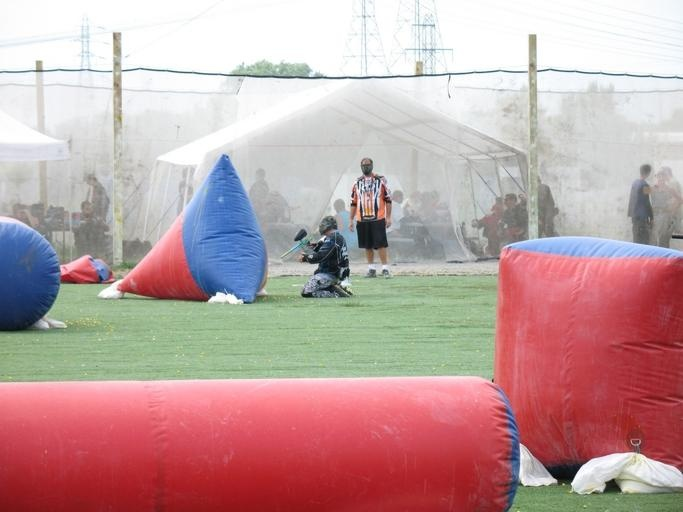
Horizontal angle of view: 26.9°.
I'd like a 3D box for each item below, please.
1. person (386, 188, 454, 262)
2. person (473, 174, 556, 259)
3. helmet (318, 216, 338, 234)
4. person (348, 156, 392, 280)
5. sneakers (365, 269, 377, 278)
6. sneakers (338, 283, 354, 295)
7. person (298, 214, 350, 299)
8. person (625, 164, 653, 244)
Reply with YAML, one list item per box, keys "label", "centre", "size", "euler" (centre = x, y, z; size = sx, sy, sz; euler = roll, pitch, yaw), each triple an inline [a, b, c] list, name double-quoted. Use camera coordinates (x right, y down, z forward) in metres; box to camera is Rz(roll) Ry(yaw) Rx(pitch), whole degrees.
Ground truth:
- label: "person"
  centre: [1.044, -0.368, 18.754]
  size: [0.849, 0.899, 0.220]
  euler: [3, 0, 4]
- label: "person"
  centre: [2.252, -0.451, 18.599]
  size: [1.080, 0.952, 0.404]
  euler: [3, 0, 10]
- label: "helmet"
  centre: [-0.146, -0.319, 14.748]
  size: [0.165, 0.201, 0.140]
  euler: [7, 7, 10]
- label: "person"
  centre: [0.340, -0.448, 16.719]
  size: [0.490, 1.352, 0.781]
  euler: [2, 0, 2]
- label: "sneakers"
  centre: [0.349, 0.211, 16.957]
  size: [0.145, 0.122, 0.055]
  euler: [3, 5, 7]
- label: "sneakers"
  centre: [0.079, 0.360, 14.881]
  size: [0.142, 0.113, 0.272]
  euler: [3, -1, 24]
- label: "person"
  centre: [-0.147, 0.020, 14.875]
  size: [0.459, 0.871, 0.432]
  euler: [1, 14, 6]
- label: "person"
  centre: [3.914, -0.688, 18.732]
  size: [0.347, 0.978, 0.260]
  euler: [3, 0, -9]
